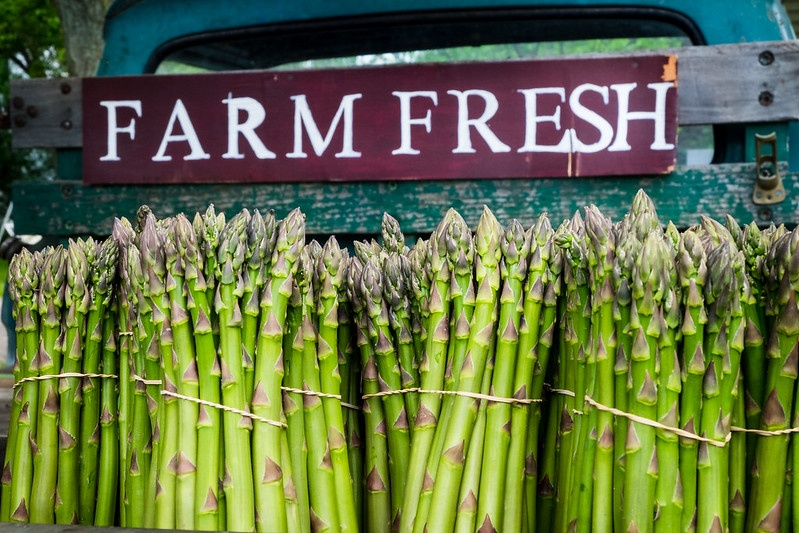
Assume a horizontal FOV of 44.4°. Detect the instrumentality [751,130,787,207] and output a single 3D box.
[{"bbox_3d":[2.492,-0.688,6.606,0.179,0.510,0.143,1,25,28],"label":"instrumentality"}]
